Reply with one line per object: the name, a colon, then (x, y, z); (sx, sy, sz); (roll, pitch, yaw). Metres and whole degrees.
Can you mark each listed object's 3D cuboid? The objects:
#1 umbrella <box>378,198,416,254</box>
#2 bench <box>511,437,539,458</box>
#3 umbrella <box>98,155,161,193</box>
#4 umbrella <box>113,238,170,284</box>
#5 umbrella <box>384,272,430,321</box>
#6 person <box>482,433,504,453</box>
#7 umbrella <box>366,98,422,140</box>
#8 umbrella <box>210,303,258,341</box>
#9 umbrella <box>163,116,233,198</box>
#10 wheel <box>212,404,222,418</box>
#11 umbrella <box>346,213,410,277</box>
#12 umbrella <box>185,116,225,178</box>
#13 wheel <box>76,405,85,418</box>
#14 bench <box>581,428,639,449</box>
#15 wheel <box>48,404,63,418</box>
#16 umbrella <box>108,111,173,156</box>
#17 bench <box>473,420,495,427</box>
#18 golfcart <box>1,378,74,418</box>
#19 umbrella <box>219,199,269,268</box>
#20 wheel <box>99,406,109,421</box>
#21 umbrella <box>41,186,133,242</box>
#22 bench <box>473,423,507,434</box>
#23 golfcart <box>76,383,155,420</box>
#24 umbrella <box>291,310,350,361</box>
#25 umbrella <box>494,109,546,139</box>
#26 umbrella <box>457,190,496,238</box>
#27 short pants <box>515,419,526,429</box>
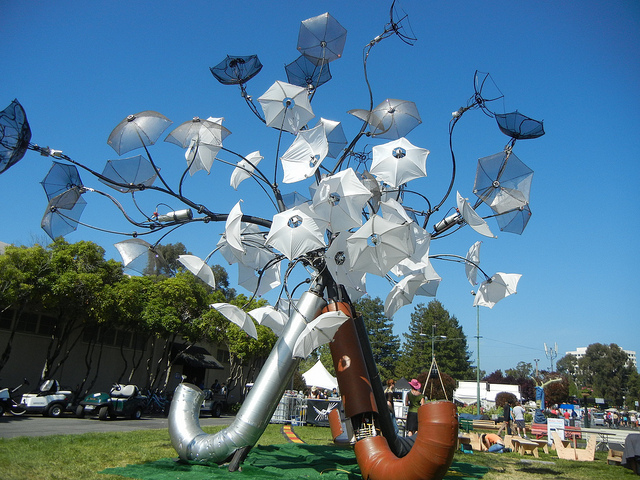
umbrella: (2.072, -0.499, 11.550); (1.070, 1.163, 0.988); (-15, -28, 15)
bench: (8.569, 8.610, 19.020); (0.772, 0.595, 1.493); (2, -16, 2)
umbrella: (-5.774, -1.875, 14.296); (1.883, 0.843, 1.895); (2, -15, -32)
umbrella: (-5.563, 0.603, 14.493); (1.116, 0.974, 1.723); (0, -16, 10)
umbrella: (2.405, 1.606, 13.217); (0.819, 1.166, 1.375); (10, -17, -24)
person: (7.464, 8.756, 19.743); (0.736, 0.653, 0.890); (3, -16, 0)
umbrella: (2.413, -3.850, 14.866); (1.585, 0.951, 1.031); (2, -16, 4)
umbrella: (-2.170, 2.127, 12.210); (1.326, 0.804, 0.431); (17, -21, -40)
umbrella: (-4.027, -2.561, 14.710); (2.025, 2.881, 2.142); (27, 26, 36)
wheel: (-6.604, 11.006, 29.610); (0.335, 1.004, 0.947); (-5, -14, 25)
umbrella: (1.445, 0.240, 11.530); (1.789, 0.659, 2.038); (-18, 26, -4)
umbrella: (-3.697, -2.640, 14.359); (1.429, 1.525, 0.630); (-2, -16, 17)
wheel: (-11.582, 8.357, 22.392); (0.437, 0.594, 0.322); (6, -16, -11)
bench: (17.093, 11.798, 27.542); (2.030, 0.877, 9.603); (-7, -19, 30)
wheel: (-12.546, 8.125, 21.900); (0.252, 0.745, 0.691); (-10, -7, 43)
umbrella: (-5.285, -3.171, 13.378); (1.564, 1.019, 0.802); (-3, -16, 18)
bench: (11.660, 13.076, 32.489); (1.269, 0.512, 1.824); (-3, -17, 20)
golfcart: (-13.119, 7.174, 21.709); (2.992, 1.777, 1.828); (20, -33, -37)
umbrella: (-1.881, -0.217, 12.642); (1.652, 1.924, 1.676); (-2, 18, -24)
wheel: (-10.362, 8.343, 22.189); (0.178, 0.566, 0.542); (-1, -26, 8)
umbrella: (-6.480, -0.827, 12.121); (1.684, 1.062, 1.091); (11, 24, 36)
bench: (11.629, 13.042, 32.126); (1.472, 0.488, 3.751); (-1, -17, 13)
golfcart: (-10.191, 8.251, 23.111); (1.576, 1.563, 2.870); (-16, -27, 34)
umbrella: (0.021, 2.049, 11.423); (1.079, 0.385, 1.157); (35, -11, 41)
umbrella: (5.974, -3.215, 13.433); (1.379, 0.595, 1.402); (9, -2, -20)
umbrella: (4.103, -0.556, 12.450); (1.384, 1.099, 0.430); (-7, 6, 0)
short pants: (10.789, 9.941, 24.814); (0.377, 0.487, 0.839); (-5, -18, 27)
